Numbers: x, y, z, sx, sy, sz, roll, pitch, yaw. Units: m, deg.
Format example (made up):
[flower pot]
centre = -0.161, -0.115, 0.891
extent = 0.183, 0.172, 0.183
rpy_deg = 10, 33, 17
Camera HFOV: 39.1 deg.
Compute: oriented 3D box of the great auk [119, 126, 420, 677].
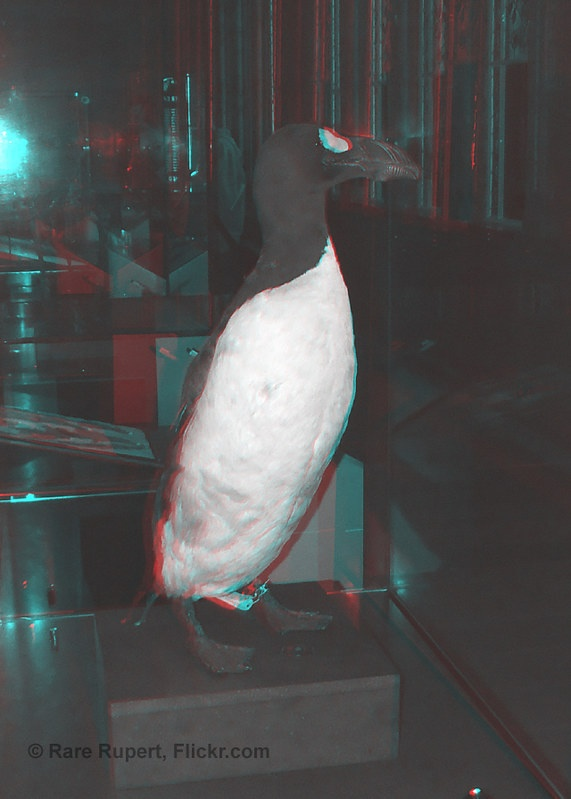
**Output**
[great auk]
centre = -0.009, -0.037, 1.082
extent = 0.390, 0.646, 0.151
rpy_deg = -3, 6, -2
